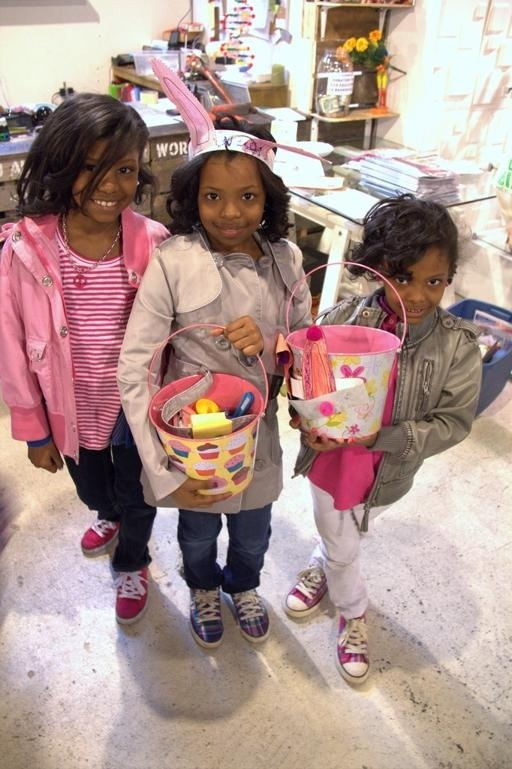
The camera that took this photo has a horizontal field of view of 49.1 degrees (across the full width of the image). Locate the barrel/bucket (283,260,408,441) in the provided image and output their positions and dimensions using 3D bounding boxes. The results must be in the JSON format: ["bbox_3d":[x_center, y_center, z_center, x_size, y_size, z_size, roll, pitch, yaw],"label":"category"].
[{"bbox_3d":[0.144,-0.036,0.994,0.219,0.323,0.281,7,28,12],"label":"barrel/bucket"}]

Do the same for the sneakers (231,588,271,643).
[{"bbox_3d":[-0.019,0.596,1.468,0.061,0.058,0.161,-9,23,-16],"label":"sneakers"}]

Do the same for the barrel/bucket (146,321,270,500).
[{"bbox_3d":[-0.082,0.106,0.960,0.194,0.380,0.274,2,27,1],"label":"barrel/bucket"}]

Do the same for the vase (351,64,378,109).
[{"bbox_3d":[0.606,-1.709,3.182,0.149,0.255,0.139,5,52,4],"label":"vase"}]

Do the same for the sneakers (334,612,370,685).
[{"bbox_3d":[0.227,0.644,1.367,0.061,0.071,0.171,-1,18,4],"label":"sneakers"}]

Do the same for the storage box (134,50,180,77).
[{"bbox_3d":[-0.662,-2.117,3.654,0.249,0.159,0.510,-9,28,-19],"label":"storage box"}]

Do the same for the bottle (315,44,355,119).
[{"bbox_3d":[0.440,-1.685,3.119,0.216,0.338,0.360,3,27,4],"label":"bottle"}]

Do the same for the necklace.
[{"bbox_3d":[-0.323,-0.264,1.117,0.113,0.115,0.086,-6,28,-13],"label":"necklace"}]

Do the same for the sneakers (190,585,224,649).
[{"bbox_3d":[-0.127,0.596,1.426,0.059,0.065,0.168,-1,24,-11],"label":"sneakers"}]

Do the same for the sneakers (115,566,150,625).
[{"bbox_3d":[-0.324,0.562,1.486,0.064,0.063,0.157,-2,28,-5],"label":"sneakers"}]

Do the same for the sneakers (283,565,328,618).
[{"bbox_3d":[0.149,0.559,1.571,0.063,0.069,0.180,24,29,19],"label":"sneakers"}]
